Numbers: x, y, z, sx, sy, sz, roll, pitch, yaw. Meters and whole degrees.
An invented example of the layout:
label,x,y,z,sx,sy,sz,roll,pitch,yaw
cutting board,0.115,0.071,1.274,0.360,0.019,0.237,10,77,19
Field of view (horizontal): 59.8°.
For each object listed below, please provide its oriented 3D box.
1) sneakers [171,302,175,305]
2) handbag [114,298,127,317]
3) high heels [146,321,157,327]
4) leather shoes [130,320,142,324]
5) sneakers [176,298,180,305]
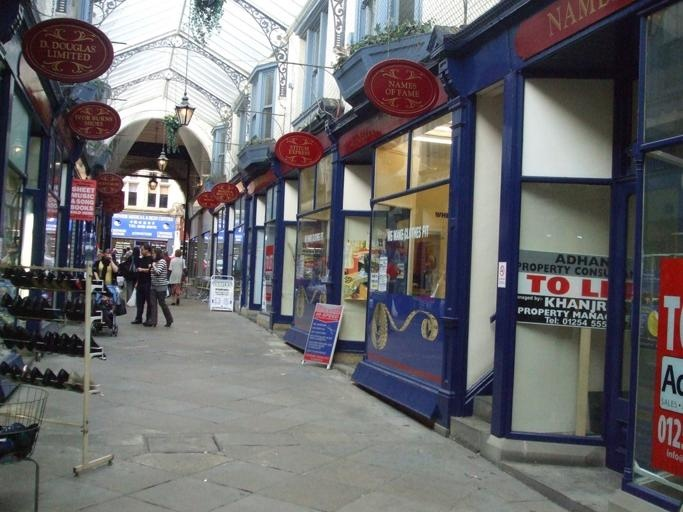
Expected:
label,x,y,z,sx,sy,sz,roll,pitch,yaw
sneakers,-6.891,2.002,24.367,0.107,0.161,0.373,-1,-6,-8
handbag,-5.231,1.224,14.158,0.202,0.416,0.988,3,0,-16
high heels,-5.081,1.859,15.934,0.254,0.135,0.115,8,-4,-8
leather shoes,-5.691,1.850,16.522,0.312,0.143,0.122,5,2,0
sneakers,-6.571,1.860,23.848,0.083,0.316,0.116,4,4,4
